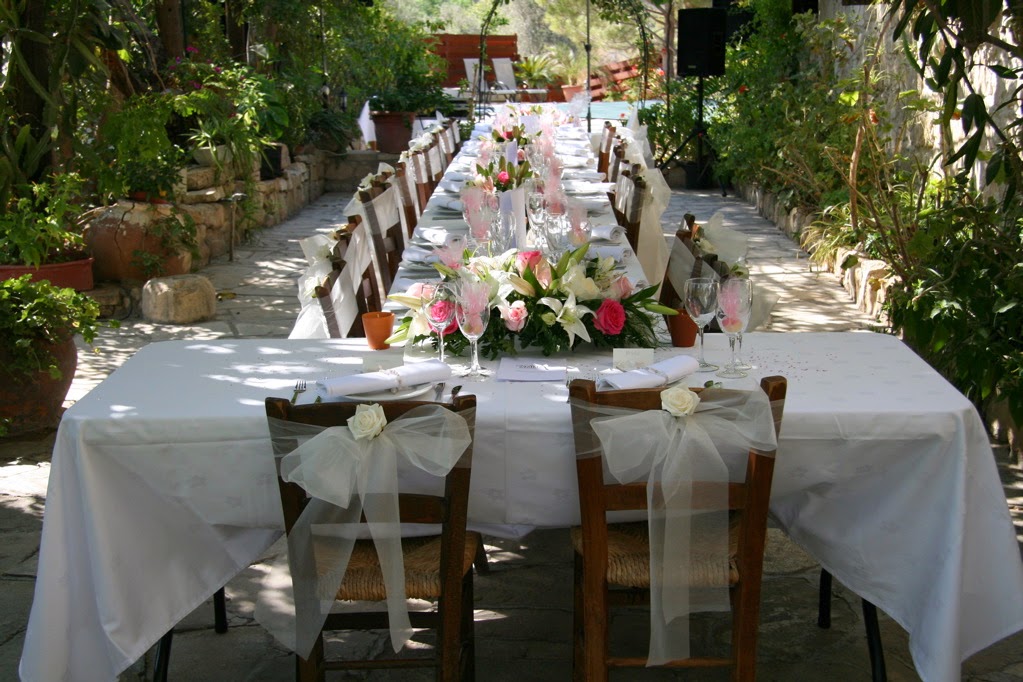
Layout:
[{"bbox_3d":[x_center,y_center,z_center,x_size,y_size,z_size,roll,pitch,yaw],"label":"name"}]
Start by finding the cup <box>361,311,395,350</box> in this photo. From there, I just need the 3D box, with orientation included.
[{"bbox_3d":[-0.466,-0.043,2.881,0.098,0.117,0.114,1,21,-4],"label":"cup"}]
